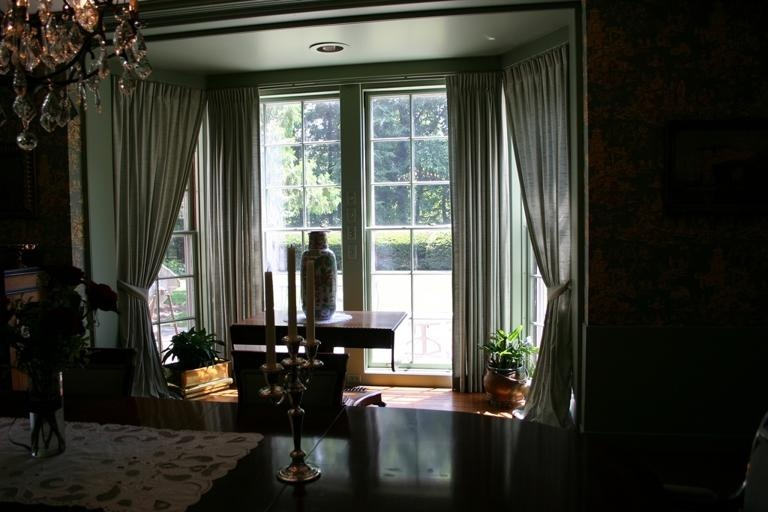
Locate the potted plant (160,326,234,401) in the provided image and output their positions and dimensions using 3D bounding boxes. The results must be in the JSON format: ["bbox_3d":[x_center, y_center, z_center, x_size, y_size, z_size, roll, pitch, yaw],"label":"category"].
[{"bbox_3d":[-1.719,0.900,5.549,0.617,0.575,0.597,4,4,42],"label":"potted plant"}]

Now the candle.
[{"bbox_3d":[-0.363,0.211,2.398,0.196,0.491,0.346,1,1,-10],"label":"candle"}]
